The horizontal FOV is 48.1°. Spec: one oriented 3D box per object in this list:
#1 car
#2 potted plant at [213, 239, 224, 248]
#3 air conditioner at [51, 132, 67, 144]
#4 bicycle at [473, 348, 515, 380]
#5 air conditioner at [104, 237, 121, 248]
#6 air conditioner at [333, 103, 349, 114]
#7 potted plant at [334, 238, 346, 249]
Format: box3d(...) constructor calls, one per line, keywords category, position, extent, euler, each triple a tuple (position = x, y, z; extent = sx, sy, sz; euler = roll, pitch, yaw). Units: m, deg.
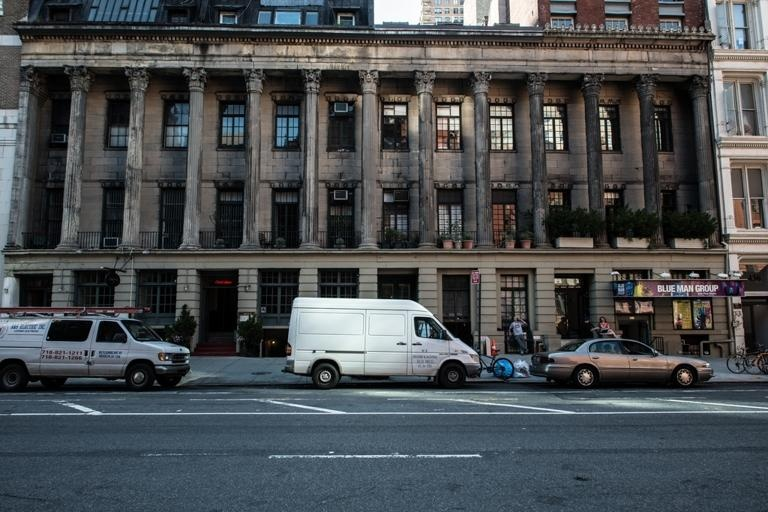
box3d(category="car", position=(10.746, 4.900, 39.410), extent=(7.298, 2.189, 0.749), euler=(0, -5, 1))
box3d(category="potted plant", position=(-9.777, -0.810, 50.976), extent=(0.565, 0.510, 0.397), euler=(0, -5, -2))
box3d(category="air conditioner", position=(-19.856, -7.173, 52.426), extent=(1.210, 0.753, 0.613), euler=(0, 3, 2))
box3d(category="bicycle", position=(5.437, 5.391, 41.693), extent=(2.124, 1.197, 1.058), euler=(1, -6, 9))
box3d(category="air conditioner", position=(-16.247, -0.815, 51.102), extent=(1.143, 0.598, 0.781), euler=(1, -6, -6))
box3d(category="air conditioner", position=(-2.631, -8.988, 52.806), extent=(1.163, 0.794, 0.611), euler=(0, -16, -3))
box3d(category="potted plant", position=(-2.651, -0.770, 50.954), extent=(0.774, 0.755, 0.570), euler=(1, -5, -10))
